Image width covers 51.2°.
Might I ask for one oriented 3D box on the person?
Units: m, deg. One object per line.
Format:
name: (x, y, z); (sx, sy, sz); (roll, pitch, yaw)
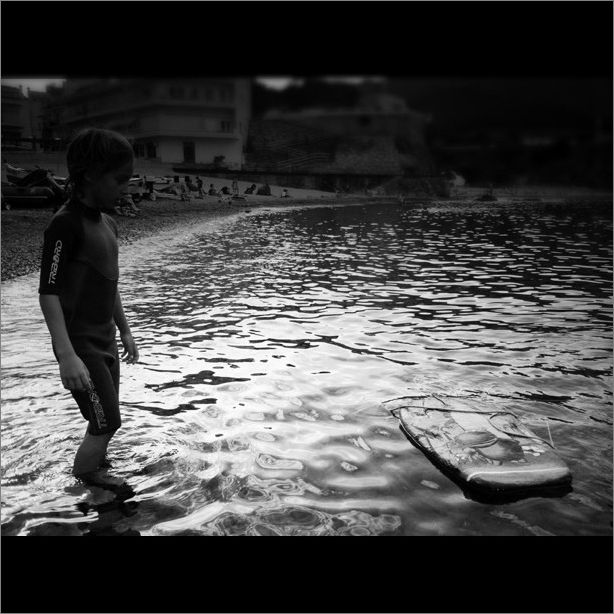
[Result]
person: (-1.277, 0.087, 3.869); (0.553, 2.256, 0.775); (-3, 10, -14)
